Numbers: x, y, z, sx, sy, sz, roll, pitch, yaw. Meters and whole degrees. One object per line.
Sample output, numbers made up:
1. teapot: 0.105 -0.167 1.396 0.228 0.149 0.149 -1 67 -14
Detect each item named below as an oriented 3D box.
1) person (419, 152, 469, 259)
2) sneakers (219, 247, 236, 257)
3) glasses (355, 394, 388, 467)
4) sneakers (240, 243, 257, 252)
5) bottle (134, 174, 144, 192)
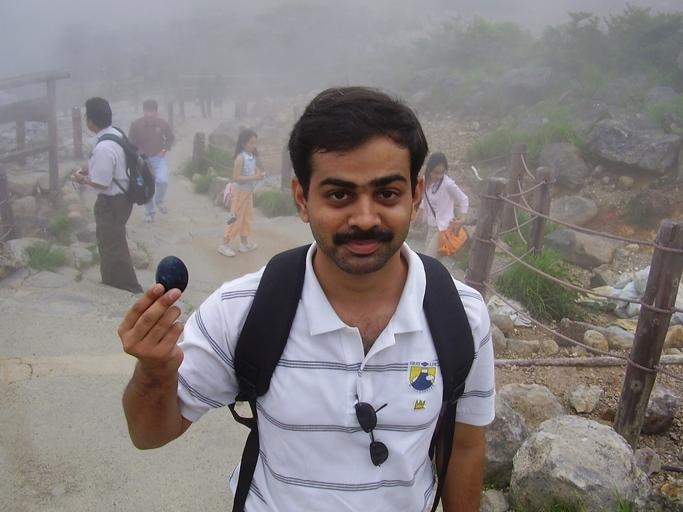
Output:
1. person: 1.458 -0.505 7.699 0.759 2.152 0.572 -2 28 5
2. sneakers: -1.882 -0.093 8.425 0.283 0.142 0.134 15 23 33
3. glasses: 0.130 0.744 2.173 0.155 0.258 0.069 2 7 4
4. sneakers: -1.569 -0.155 8.648 0.291 0.143 0.124 -7 13 -11
5. bottle: -2.537 -0.928 6.448 0.087 0.138 0.120 3 -5 -10
